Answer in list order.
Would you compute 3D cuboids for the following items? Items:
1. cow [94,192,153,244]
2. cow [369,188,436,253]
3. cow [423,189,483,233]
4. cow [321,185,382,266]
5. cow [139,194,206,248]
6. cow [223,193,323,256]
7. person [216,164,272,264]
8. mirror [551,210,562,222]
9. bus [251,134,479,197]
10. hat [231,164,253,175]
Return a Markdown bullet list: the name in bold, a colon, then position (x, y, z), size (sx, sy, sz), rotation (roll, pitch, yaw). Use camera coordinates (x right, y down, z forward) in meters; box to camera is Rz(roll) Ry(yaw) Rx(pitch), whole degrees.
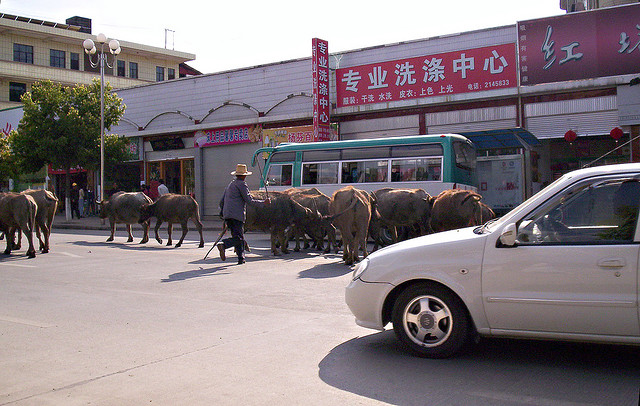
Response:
- **cow**: position (-7.960, 0.570, 22.833), size (3.597, 2.040, 1.048), rotation (-2, -3, 38)
- **cow**: position (2.329, 0.476, 17.456), size (3.308, 1.901, 0.865), rotation (-2, 3, 40)
- **cow**: position (3.715, 0.272, 16.363), size (0.889, 1.356, 2.438), rotation (-5, 2, -30)
- **cow**: position (1.088, 0.574, 16.683), size (1.516, 2.153, 2.389), rotation (5, 6, 42)
- **cow**: position (-5.489, 0.630, 20.920), size (1.902, 1.890, 2.393), rotation (-2, 5, -28)
- **cow**: position (-1.680, 0.635, 18.456), size (3.432, 1.860, 0.831), rotation (0, 3, 15)
- **person**: position (-2.297, 0.333, 15.655), size (1.108, 2.780, 1.041), rotation (-1, 5, -17)
- **mirror**: position (3.389, 0.166, 8.114), size (0.141, 0.129, 0.034), rotation (8, 3, 35)
- **bus**: position (1.735, -0.925, 23.534), size (9.674, 3.453, 2.989), rotation (2, 1, 41)
- **hat**: position (-2.257, -1.026, 16.062), size (0.532, 0.244, 0.702), rotation (0, -4, -8)
